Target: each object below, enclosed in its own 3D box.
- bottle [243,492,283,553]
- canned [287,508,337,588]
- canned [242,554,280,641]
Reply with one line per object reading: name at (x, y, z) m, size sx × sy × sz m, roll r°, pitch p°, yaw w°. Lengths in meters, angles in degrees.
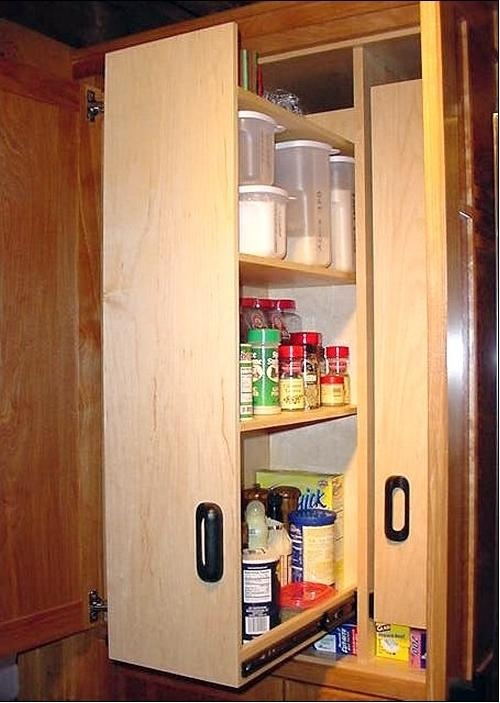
bottle at (0.052, 0.355, 1.448) m, size 0.068 × 0.115 × 0.111 m, roll -2°, pitch -12°, yaw 11°
canned at (0.138, 0.446, 1.585) m, size 0.101 × 0.159 × 0.098 m, roll 0°, pitch -3°, yaw 3°
canned at (0.020, 0.457, 1.301) m, size 0.081 × 0.144 × 0.033 m, roll 1°, pitch -3°, yaw -18°
